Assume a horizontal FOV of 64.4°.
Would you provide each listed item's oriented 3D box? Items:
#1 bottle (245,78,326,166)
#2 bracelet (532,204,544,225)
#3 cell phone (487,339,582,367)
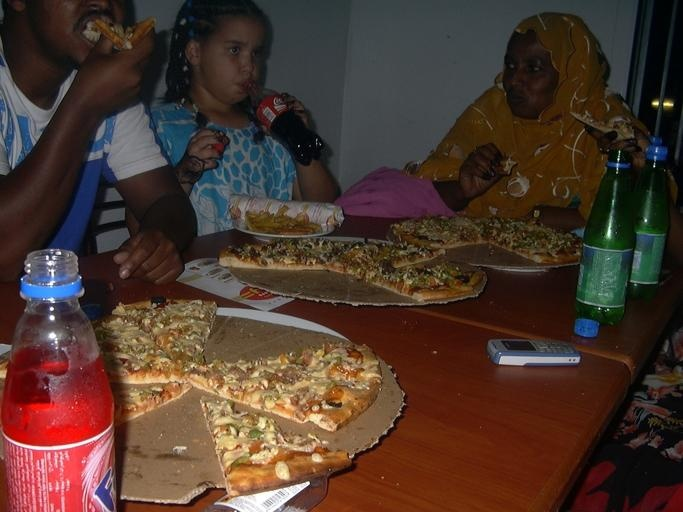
[{"bbox_3d":[-0.277,-0.610,2.416,0.534,0.168,0.167,50,5,30],"label":"bottle"},{"bbox_3d":[1.010,-0.211,2.774,0.047,0.039,0.170,32,-2,21],"label":"bracelet"},{"bbox_3d":[0.425,0.203,1.176,0.172,0.034,0.070,-2,22,1],"label":"cell phone"}]
